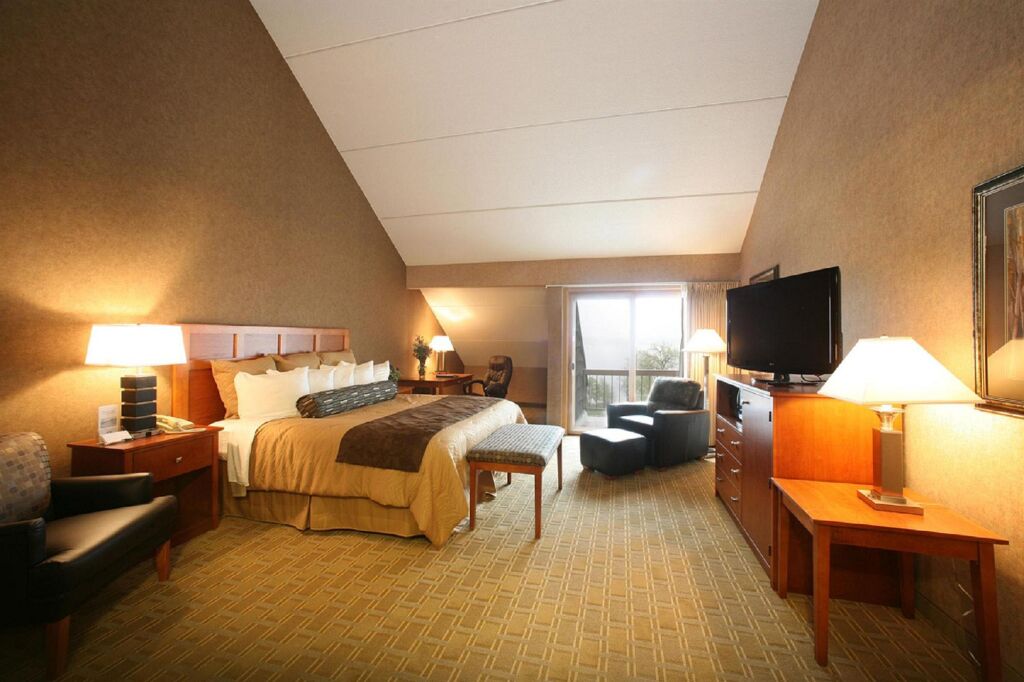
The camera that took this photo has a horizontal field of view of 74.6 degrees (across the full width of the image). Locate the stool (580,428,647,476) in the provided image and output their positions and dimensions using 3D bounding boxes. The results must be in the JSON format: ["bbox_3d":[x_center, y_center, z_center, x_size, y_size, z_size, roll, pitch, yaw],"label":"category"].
[{"bbox_3d":[1.038,1.149,6.911,0.665,0.340,0.444,-2,0,8],"label":"stool"}]

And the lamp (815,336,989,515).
[{"bbox_3d":[2.618,0.538,4.683,0.927,1.215,0.984,-5,8,6],"label":"lamp"}]

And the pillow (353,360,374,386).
[{"bbox_3d":[-1.567,0.344,7.074,0.220,0.262,0.091,0,-32,-19],"label":"pillow"}]

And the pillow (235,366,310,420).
[{"bbox_3d":[-2.172,0.483,6.055,0.129,0.299,0.435,-15,-8,41],"label":"pillow"}]

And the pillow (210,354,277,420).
[{"bbox_3d":[-2.515,0.418,6.123,0.145,0.506,0.477,-9,-7,35],"label":"pillow"}]

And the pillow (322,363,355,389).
[{"bbox_3d":[-1.731,0.355,6.720,0.076,0.183,0.207,7,-4,23],"label":"pillow"}]

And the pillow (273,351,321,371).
[{"bbox_3d":[-2.147,0.198,6.731,0.202,0.076,0.250,28,19,26],"label":"pillow"}]

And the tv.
[{"bbox_3d":[2.160,-0.051,5.511,0.908,0.684,0.212,-7,-11,30],"label":"tv"}]

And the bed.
[{"bbox_3d":[-1.473,0.921,6.203,2.034,1.342,2.121,0,2,13],"label":"bed"}]

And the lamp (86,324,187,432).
[{"bbox_3d":[-2.904,0.251,5.431,0.748,1.098,0.808,4,4,42],"label":"lamp"}]

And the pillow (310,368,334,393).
[{"bbox_3d":[-1.842,0.387,6.496,0.099,0.188,0.190,-10,-3,37],"label":"pillow"}]

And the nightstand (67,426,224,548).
[{"bbox_3d":[-2.919,1.141,5.479,0.619,0.898,0.866,6,8,27],"label":"nightstand"}]

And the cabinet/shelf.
[{"bbox_3d":[2.231,0.957,5.770,0.637,1.197,1.826,-1,2,5],"label":"cabinet/shelf"}]

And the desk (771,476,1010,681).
[{"bbox_3d":[2.528,1.483,4.717,1.162,1.011,1.142,0,-7,11],"label":"desk"}]

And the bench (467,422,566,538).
[{"bbox_3d":[0.070,1.225,6.261,0.690,0.686,1.352,3,4,13],"label":"bench"}]

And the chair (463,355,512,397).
[{"bbox_3d":[-0.369,0.593,9.209,0.650,0.784,0.517,-4,7,-41],"label":"chair"}]

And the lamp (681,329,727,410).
[{"bbox_3d":[2.275,0.340,7.802,0.456,1.071,0.470,5,24,15],"label":"lamp"}]

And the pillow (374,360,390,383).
[{"bbox_3d":[-1.438,0.344,7.433,0.079,0.237,0.200,-13,-12,40],"label":"pillow"}]

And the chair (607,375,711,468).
[{"bbox_3d":[1.659,0.910,7.635,0.855,0.923,0.937,-1,4,-39],"label":"chair"}]
